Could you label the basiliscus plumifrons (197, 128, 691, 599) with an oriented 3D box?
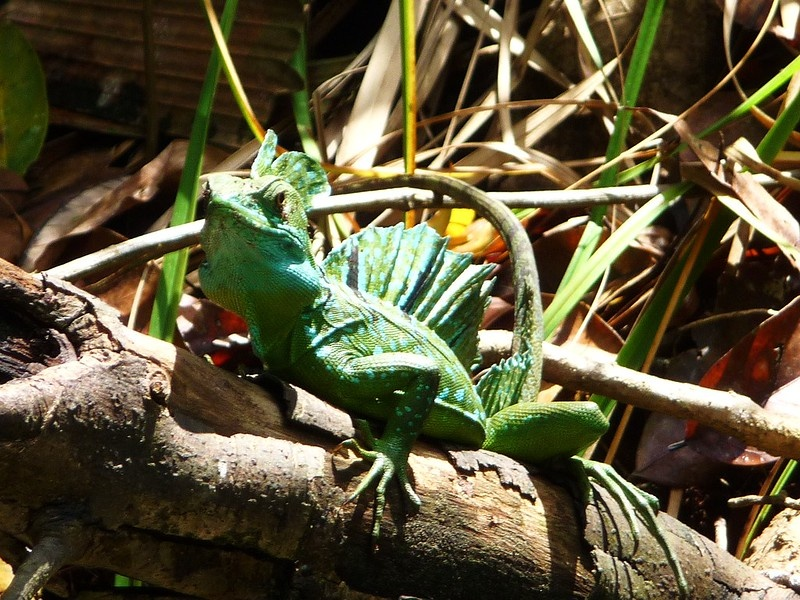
[{"bbox_3d":[-0.002,0.302,3.288,1.932,1.236,1.063,25,-31,-22],"label":"basiliscus plumifrons"}]
